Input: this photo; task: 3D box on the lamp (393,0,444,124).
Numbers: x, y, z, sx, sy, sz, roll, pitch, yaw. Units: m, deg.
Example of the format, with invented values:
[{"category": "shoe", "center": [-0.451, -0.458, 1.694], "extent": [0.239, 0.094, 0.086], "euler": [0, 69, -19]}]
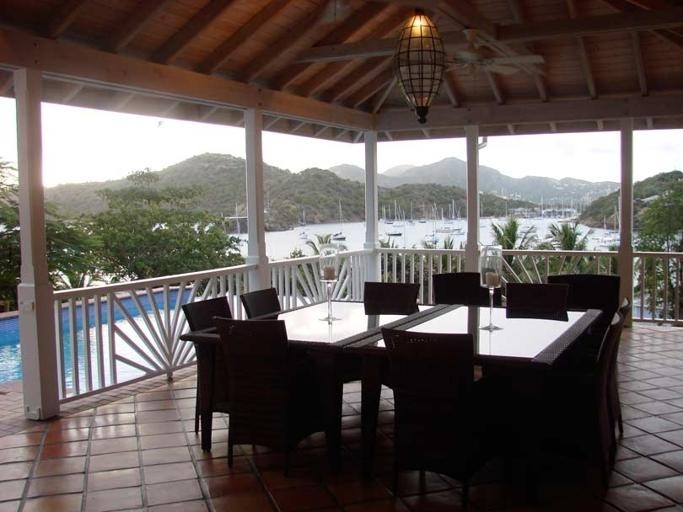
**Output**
[{"category": "lamp", "center": [0.563, -1.382, 3.723], "extent": [0.352, 0.840, 0.315], "euler": [0, 8, 10]}]

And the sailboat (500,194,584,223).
[{"category": "sailboat", "center": [10.580, -2.487, 26.647], "extent": [3.057, 1.082, 1.943], "euler": [3, 9, 28]}]

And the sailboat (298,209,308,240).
[{"category": "sailboat", "center": [-1.800, -1.449, 24.439], "extent": [0.447, 1.550, 1.165], "euler": [-2, 8, -4]}]

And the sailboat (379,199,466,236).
[{"category": "sailboat", "center": [3.959, -1.658, 26.119], "extent": [3.351, 1.187, 2.372], "euler": [2, 5, 19]}]
